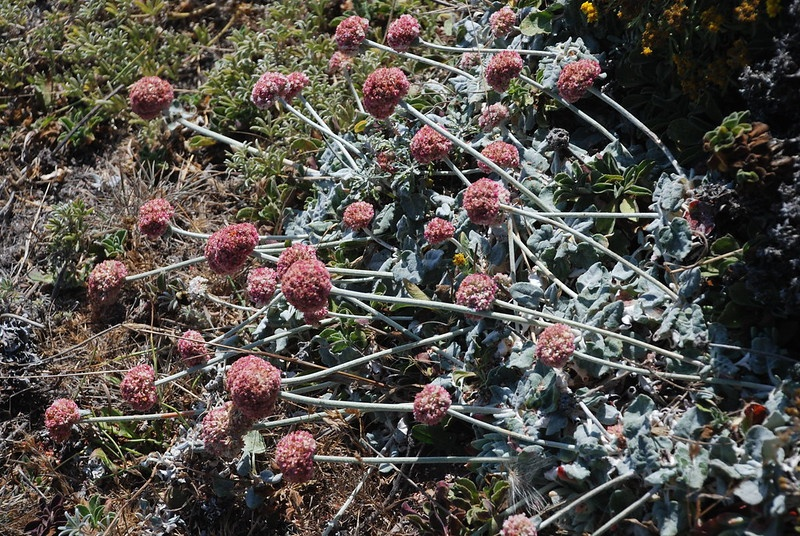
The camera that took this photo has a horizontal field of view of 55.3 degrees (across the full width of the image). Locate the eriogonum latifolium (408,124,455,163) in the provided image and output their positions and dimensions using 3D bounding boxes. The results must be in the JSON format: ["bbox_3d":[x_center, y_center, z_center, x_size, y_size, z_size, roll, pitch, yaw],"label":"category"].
[{"bbox_3d":[0.197,-0.759,4.760,0.253,0.210,0.197,3,79,8],"label":"eriogonum latifolium"}]

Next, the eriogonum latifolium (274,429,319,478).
[{"bbox_3d":[-0.609,1.103,4.549,0.230,0.261,0.224,-4,87,3],"label":"eriogonum latifolium"}]

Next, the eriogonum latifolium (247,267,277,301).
[{"bbox_3d":[-0.864,0.090,4.709,0.109,0.199,0.173,26,36,35],"label":"eriogonum latifolium"}]

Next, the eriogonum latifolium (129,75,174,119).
[{"bbox_3d":[-1.664,-1.128,5.068,0.226,0.212,0.252,35,69,29],"label":"eriogonum latifolium"}]

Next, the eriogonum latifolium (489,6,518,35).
[{"bbox_3d":[0.678,-1.637,5.111,0.168,0.132,0.207,-14,27,41],"label":"eriogonum latifolium"}]

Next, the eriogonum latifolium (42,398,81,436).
[{"bbox_3d":[-2.144,0.961,4.931,0.206,0.238,0.226,-6,86,2],"label":"eriogonum latifolium"}]

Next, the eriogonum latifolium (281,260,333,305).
[{"bbox_3d":[-0.542,0.093,4.515,0.241,0.266,0.259,-1,90,8],"label":"eriogonum latifolium"}]

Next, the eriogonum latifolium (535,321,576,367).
[{"bbox_3d":[0.872,0.439,4.310,0.202,0.144,0.244,-10,56,28],"label":"eriogonum latifolium"}]

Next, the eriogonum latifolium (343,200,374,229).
[{"bbox_3d":[-0.261,-0.346,4.996,0.180,0.153,0.178,-10,14,18],"label":"eriogonum latifolium"}]

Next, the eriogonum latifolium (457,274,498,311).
[{"bbox_3d":[0.461,0.165,4.436,0.204,0.157,0.216,-12,50,30],"label":"eriogonum latifolium"}]

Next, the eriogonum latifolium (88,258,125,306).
[{"bbox_3d":[-1.909,0.090,5.111,0.254,0.193,0.335,-50,13,6],"label":"eriogonum latifolium"}]

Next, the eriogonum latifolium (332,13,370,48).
[{"bbox_3d":[-0.314,-1.554,5.086,0.184,0.117,0.237,12,61,14],"label":"eriogonum latifolium"}]

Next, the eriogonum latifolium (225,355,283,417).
[{"bbox_3d":[-0.877,0.661,4.471,0.295,0.353,0.179,-44,17,-11],"label":"eriogonum latifolium"}]

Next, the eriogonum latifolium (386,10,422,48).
[{"bbox_3d":[0.029,-1.582,5.073,0.201,0.139,0.250,-36,18,21],"label":"eriogonum latifolium"}]

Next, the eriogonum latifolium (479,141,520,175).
[{"bbox_3d":[0.641,-0.730,4.871,0.196,0.146,0.217,-17,17,31],"label":"eriogonum latifolium"}]

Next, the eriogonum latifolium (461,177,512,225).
[{"bbox_3d":[0.510,-0.379,4.581,0.242,0.202,0.290,-6,45,18],"label":"eriogonum latifolium"}]

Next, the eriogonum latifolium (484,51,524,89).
[{"bbox_3d":[0.640,-1.238,4.803,0.201,0.159,0.256,3,61,33],"label":"eriogonum latifolium"}]

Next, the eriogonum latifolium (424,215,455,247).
[{"bbox_3d":[0.256,-0.230,4.824,0.163,0.141,0.170,-6,22,16],"label":"eriogonum latifolium"}]

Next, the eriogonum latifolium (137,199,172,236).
[{"bbox_3d":[-1.576,-0.321,4.989,0.196,0.244,0.206,-3,96,2],"label":"eriogonum latifolium"}]

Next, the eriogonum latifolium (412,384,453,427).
[{"bbox_3d":[0.186,0.785,4.412,0.221,0.227,0.224,-4,88,14],"label":"eriogonum latifolium"}]
